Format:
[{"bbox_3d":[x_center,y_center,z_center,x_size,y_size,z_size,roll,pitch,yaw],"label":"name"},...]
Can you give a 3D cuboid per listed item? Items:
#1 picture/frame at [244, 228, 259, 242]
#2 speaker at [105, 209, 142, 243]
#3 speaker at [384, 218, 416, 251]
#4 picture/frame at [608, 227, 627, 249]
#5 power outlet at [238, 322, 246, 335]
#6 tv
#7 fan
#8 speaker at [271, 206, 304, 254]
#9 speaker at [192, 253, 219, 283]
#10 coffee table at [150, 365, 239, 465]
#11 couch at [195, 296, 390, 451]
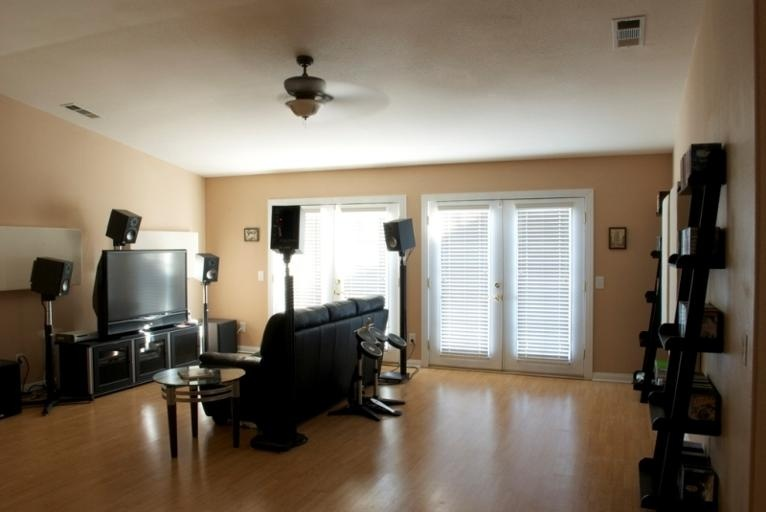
[{"bbox_3d":[-2.010,-0.311,8.771,0.216,0.183,0.036,1,-2,19],"label":"picture/frame"},{"bbox_3d":[-3.269,-0.353,7.146,0.243,0.469,0.257,9,21,-41],"label":"speaker"},{"bbox_3d":[0.225,-0.243,7.321,0.407,0.416,0.292,-3,10,-14],"label":"speaker"},{"bbox_3d":[2.933,-0.207,7.136,0.272,0.354,0.025,-1,1,10],"label":"picture/frame"},{"bbox_3d":[-2.176,1.130,8.807,0.164,0.150,0.039,9,3,15],"label":"power outlet"},{"bbox_3d":[-3.061,0.525,7.083,0.519,1.050,1.226,2,0,20],"label":"tv"},{"bbox_3d":[-0.616,-1.595,5.602,0.643,0.313,0.648,-1,-2,40],"label":"fan"},{"bbox_3d":[-0.918,-0.236,5.428,0.288,0.471,0.199,-1,10,-3],"label":"speaker"},{"bbox_3d":[-2.499,0.192,8.098,0.305,0.415,0.282,-5,11,-26],"label":"speaker"},{"bbox_3d":[-1.674,1.483,5.397,0.829,0.681,0.801,-2,-7,7],"label":"coffee table"},{"bbox_3d":[-0.900,1.128,6.607,1.089,1.216,2.532,-1,0,19],"label":"couch"}]
